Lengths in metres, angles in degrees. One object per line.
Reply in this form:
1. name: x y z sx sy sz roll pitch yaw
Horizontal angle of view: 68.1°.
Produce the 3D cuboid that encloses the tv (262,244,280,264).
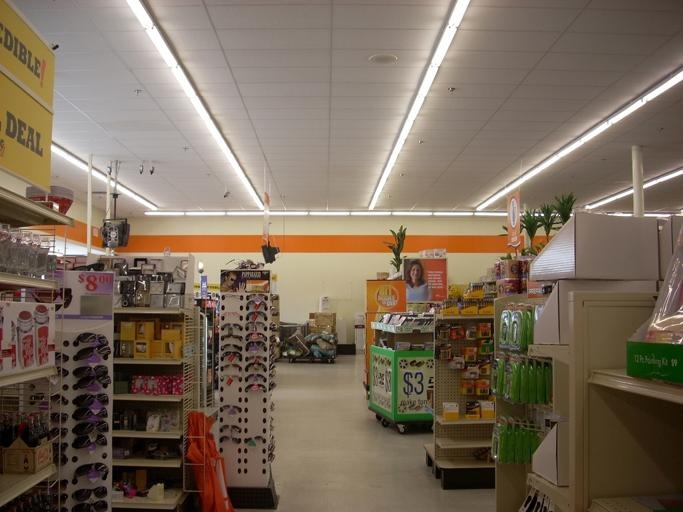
1. tv: -1.728 -0.044 12.372 0.198 0.515 0.501 -22 -3 11
